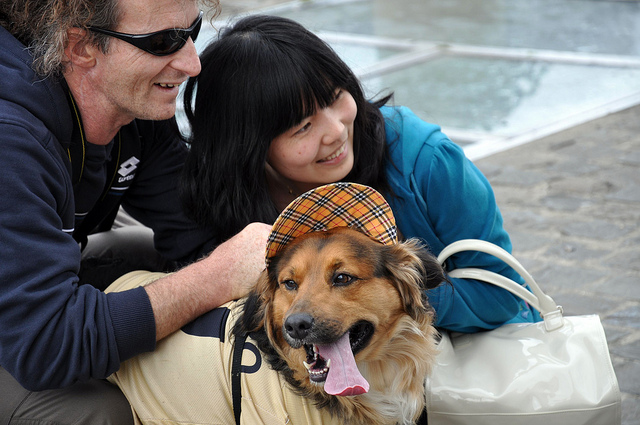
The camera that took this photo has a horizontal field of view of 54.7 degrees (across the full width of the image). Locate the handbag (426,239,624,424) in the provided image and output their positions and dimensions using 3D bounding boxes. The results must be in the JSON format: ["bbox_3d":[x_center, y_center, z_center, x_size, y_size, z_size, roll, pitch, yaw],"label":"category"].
[{"bbox_3d":[1.288,0.796,3.952,1.053,1.150,0.453,-5,14,16],"label":"handbag"}]
